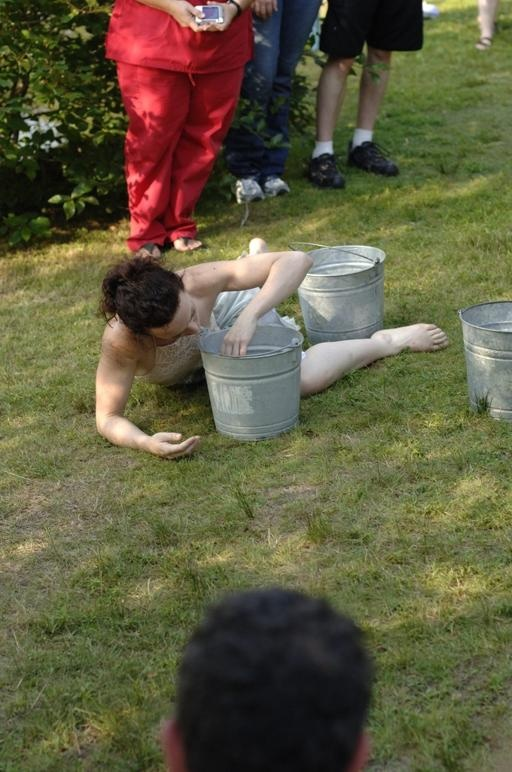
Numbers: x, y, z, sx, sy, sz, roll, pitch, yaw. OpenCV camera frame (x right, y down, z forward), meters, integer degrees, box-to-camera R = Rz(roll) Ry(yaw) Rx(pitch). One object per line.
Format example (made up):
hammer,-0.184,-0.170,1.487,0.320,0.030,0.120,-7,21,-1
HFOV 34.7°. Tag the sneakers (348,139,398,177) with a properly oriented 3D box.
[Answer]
sneakers,0.743,-1.456,5.177,0.422,0.167,0.151,25,55,38

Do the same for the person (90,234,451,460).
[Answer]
person,0.036,-0.134,2.723,1.012,0.350,0.651,8,44,2

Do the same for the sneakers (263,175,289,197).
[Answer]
sneakers,0.131,-1.226,5.014,0.103,0.071,0.174,-8,11,-8

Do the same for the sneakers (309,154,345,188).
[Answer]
sneakers,0.435,-1.324,5.049,0.143,0.122,0.305,-13,27,-8

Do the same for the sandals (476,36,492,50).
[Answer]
sandals,2.170,-3.245,7.781,0.140,0.129,0.189,1,11,13
